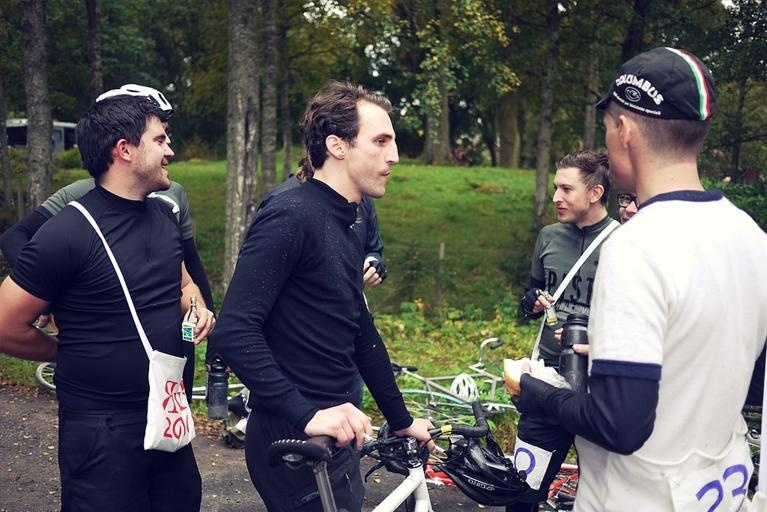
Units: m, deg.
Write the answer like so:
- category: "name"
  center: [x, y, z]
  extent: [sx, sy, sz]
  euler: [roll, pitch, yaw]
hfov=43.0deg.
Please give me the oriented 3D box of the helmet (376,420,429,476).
- category: "helmet"
  center: [0.138, 1.559, 7.713]
  extent: [0.335, 0.195, 0.395]
  euler: [-1, 27, -12]

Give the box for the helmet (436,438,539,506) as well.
- category: "helmet"
  center: [0.783, 1.721, 7.673]
  extent: [0.581, 0.235, 0.535]
  euler: [34, 56, 25]

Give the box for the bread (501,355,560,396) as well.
- category: "bread"
  center: [1.092, 0.920, 7.566]
  extent: [0.322, 0.120, 0.281]
  euler: [5, 9, 26]

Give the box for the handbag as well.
- category: "handbag"
  center: [-1.762, 1.182, 7.920]
  extent: [0.258, 0.912, 0.779]
  euler: [-6, -8, 22]

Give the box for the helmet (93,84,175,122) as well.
- category: "helmet"
  center: [-2.066, -1.341, 8.214]
  extent: [0.506, 0.189, 0.365]
  euler: [1, 16, -7]
